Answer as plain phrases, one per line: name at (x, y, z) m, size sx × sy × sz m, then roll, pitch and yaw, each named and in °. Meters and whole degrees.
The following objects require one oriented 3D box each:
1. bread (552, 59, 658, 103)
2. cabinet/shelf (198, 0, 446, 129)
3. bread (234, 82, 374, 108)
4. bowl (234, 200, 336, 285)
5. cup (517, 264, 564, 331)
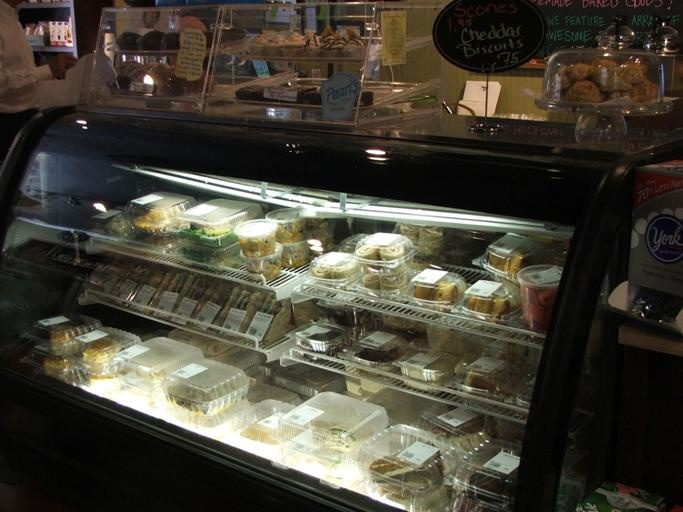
bread at (0.796, -0.499, 1.569) m, size 0.225 × 0.075 × 0.222 m, roll 13°, pitch 22°, yaw 41°
cabinet/shelf at (-0.014, -0.785, 2.093) m, size 1.078 × 0.402 × 0.733 m, roll 12°, pitch 24°, yaw 28°
bread at (-0.210, -0.602, 1.935) m, size 0.382 × 0.041 × 0.207 m, roll 9°, pitch 17°, yaw 31°
bowl at (-0.224, -0.060, 2.097) m, size 0.454 × 0.150 × 0.279 m, roll -12°, pitch 27°, yaw -20°
cup at (0.563, 0.113, 1.507) m, size 0.112 × 0.175 × 0.155 m, roll 9°, pitch 24°, yaw 19°
